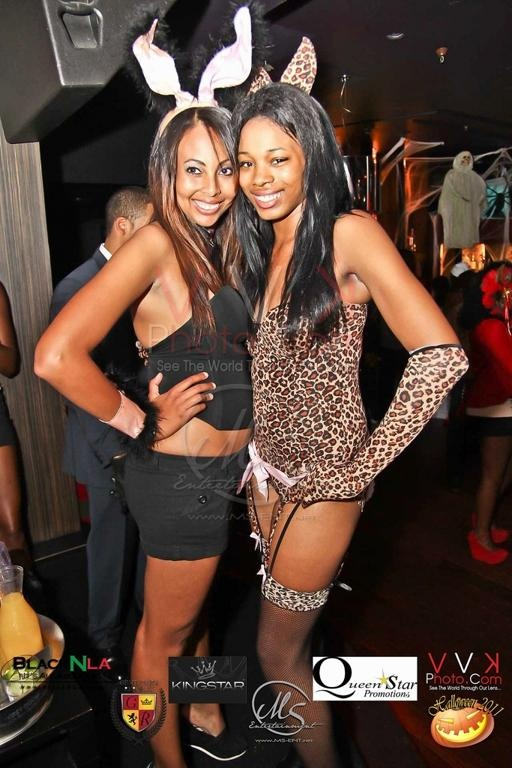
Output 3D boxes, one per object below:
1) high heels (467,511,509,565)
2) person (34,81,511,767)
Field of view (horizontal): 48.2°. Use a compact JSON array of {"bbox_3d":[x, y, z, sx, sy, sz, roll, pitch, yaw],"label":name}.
[{"bbox_3d":[0.861,0.581,2.139,0.108,0.160,0.057,-9,-28,-8],"label":"high heels"},{"bbox_3d":[0.199,0.191,1.349,0.544,1.659,0.270,3,16,23],"label":"person"}]
